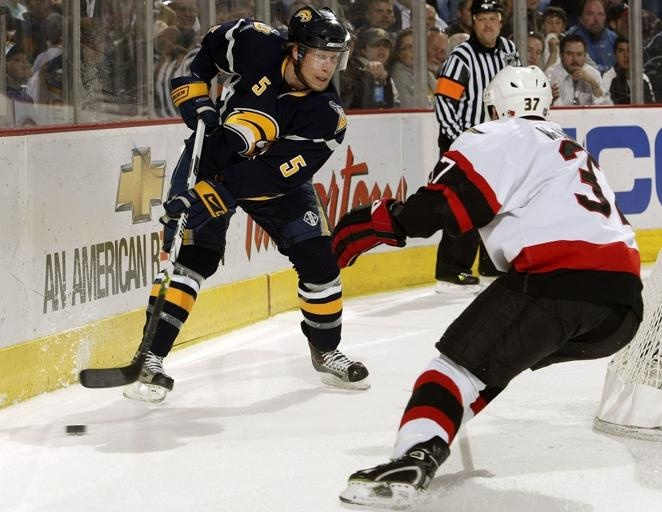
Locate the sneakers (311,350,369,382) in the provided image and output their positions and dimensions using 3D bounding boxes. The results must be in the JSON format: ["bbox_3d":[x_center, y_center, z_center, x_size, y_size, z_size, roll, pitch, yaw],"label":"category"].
[{"bbox_3d":[0.033,0.490,3.679,0.293,0.127,0.102,9,28,45],"label":"sneakers"}]

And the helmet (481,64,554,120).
[{"bbox_3d":[0.659,-0.569,2.842,0.193,0.190,0.218,0,25,-8],"label":"helmet"}]

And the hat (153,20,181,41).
[{"bbox_3d":[-0.919,-1.251,4.482,0.108,0.107,0.032,-3,14,-44],"label":"hat"}]

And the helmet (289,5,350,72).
[{"bbox_3d":[-0.044,-0.879,3.256,0.242,0.217,0.191,25,33,36],"label":"helmet"}]

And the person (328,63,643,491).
[{"bbox_3d":[0.519,0.043,2.617,0.965,1.316,0.649,-1,9,-1],"label":"person"}]

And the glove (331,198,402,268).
[{"bbox_3d":[0.120,-0.091,2.795,0.286,0.167,0.117,-20,-14,30],"label":"glove"}]

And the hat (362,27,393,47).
[{"bbox_3d":[0.317,-1.549,5.731,0.128,0.090,0.171,-4,11,-22],"label":"hat"}]

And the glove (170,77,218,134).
[{"bbox_3d":[-0.577,-0.640,3.375,0.158,0.251,0.108,-31,3,41],"label":"glove"}]

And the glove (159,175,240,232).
[{"bbox_3d":[-0.532,-0.211,3.294,0.273,0.175,0.082,-20,-23,-14],"label":"glove"}]

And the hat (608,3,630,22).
[{"bbox_3d":[2.279,-1.956,6.467,0.151,0.078,0.092,-38,17,-13],"label":"hat"}]
